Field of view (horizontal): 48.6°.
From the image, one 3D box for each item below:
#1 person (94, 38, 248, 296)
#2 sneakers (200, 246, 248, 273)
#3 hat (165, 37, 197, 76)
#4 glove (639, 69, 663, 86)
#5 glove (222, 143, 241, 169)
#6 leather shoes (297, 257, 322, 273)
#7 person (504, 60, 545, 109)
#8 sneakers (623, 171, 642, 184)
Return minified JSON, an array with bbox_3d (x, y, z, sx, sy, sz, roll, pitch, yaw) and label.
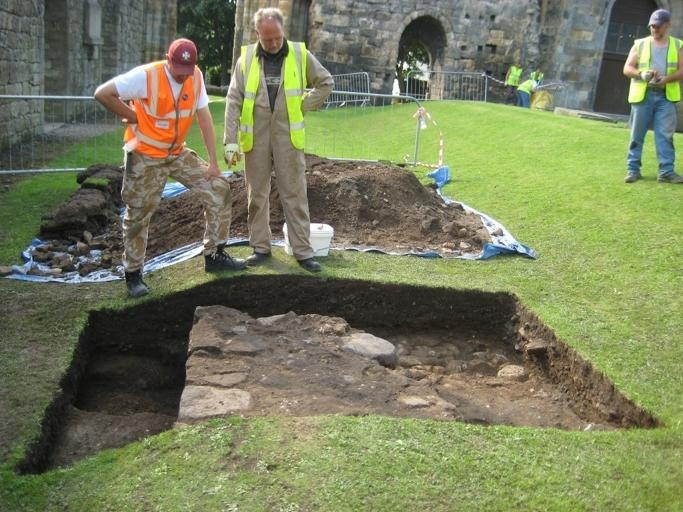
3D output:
[{"bbox_3d":[-1.722,-0.856,7.545,1.237,2.491,0.458,-4,20,-17],"label":"person"},{"bbox_3d":[-1.222,0.049,7.934,0.488,0.278,0.199,-1,9,-8],"label":"sneakers"},{"bbox_3d":[-1.540,-1.934,7.317,0.260,0.375,0.207,-6,-18,-25],"label":"hat"},{"bbox_3d":[3.969,-2.276,9.710,0.244,0.117,0.352,7,3,29],"label":"glove"},{"bbox_3d":[-1.102,-1.019,7.738,0.211,0.223,0.100,2,1,7],"label":"glove"},{"bbox_3d":[-0.322,0.096,8.023,0.296,0.117,0.108,6,12,42],"label":"leather shoes"},{"bbox_3d":[5.562,-5.204,23.212,1.106,2.023,0.627,3,13,7],"label":"person"},{"bbox_3d":[3.889,-1.049,10.121,0.125,0.095,0.286,0,10,9],"label":"sneakers"}]
